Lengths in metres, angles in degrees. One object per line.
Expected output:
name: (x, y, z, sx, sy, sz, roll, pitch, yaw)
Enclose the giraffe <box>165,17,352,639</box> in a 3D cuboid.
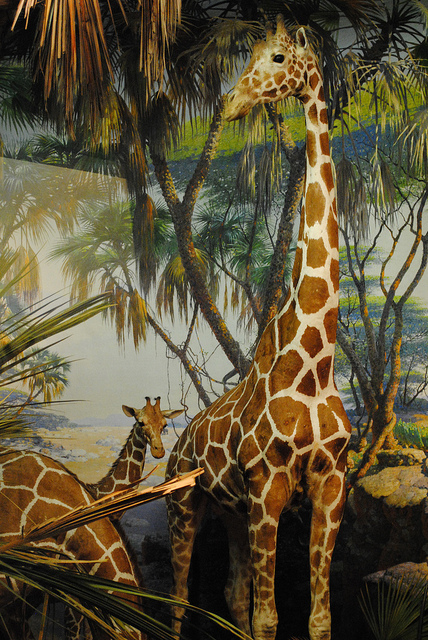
giraffe: (0.152, 0.097, 2.889, 0.577, 2.012, 0.940, 3, -12, -3)
